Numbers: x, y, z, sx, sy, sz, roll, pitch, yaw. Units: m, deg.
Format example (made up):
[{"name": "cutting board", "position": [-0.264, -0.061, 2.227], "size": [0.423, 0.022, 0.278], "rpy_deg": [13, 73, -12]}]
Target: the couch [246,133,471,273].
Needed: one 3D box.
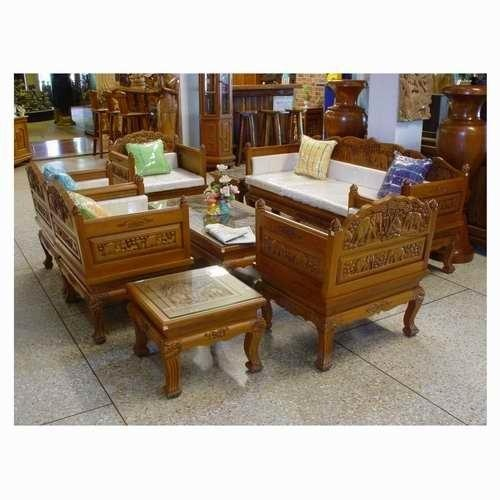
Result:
[{"name": "couch", "position": [0.766, -0.576, 4.890], "size": [1.028, 1.304, 2.877], "rpy_deg": [-20, 27, -31]}]

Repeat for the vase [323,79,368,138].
[{"name": "vase", "position": [1.221, -1.749, 5.463], "size": [0.613, 0.733, 0.604], "rpy_deg": [-19, 30, -29]}]

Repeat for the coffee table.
[{"name": "coffee table", "position": [-0.357, 0.336, 2.527], "size": [0.726, 0.484, 0.707], "rpy_deg": [-12, 27, -30]}]
